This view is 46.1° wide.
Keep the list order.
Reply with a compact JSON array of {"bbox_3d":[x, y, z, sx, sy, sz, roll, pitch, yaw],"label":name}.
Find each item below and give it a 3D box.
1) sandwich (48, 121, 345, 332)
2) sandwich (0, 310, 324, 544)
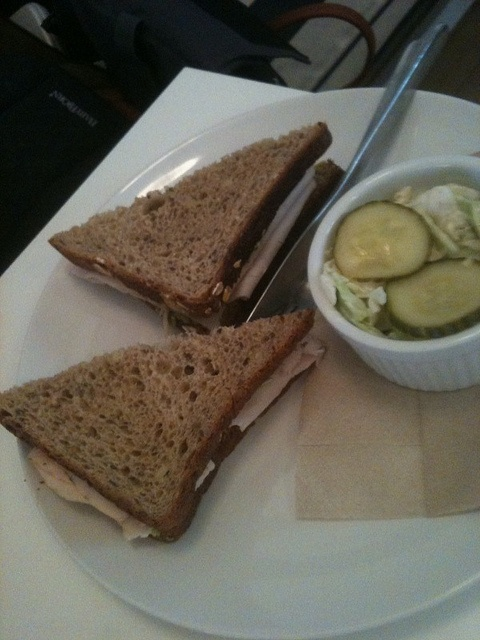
[{"bbox_3d":[-0.126,-0.274,1.286,0.496,0.487,0.131,-50,42,-2],"label":"sandwich"},{"bbox_3d":[-0.101,0.162,1.143,0.442,0.135,0.514,22,63,39],"label":"sandwich"}]
